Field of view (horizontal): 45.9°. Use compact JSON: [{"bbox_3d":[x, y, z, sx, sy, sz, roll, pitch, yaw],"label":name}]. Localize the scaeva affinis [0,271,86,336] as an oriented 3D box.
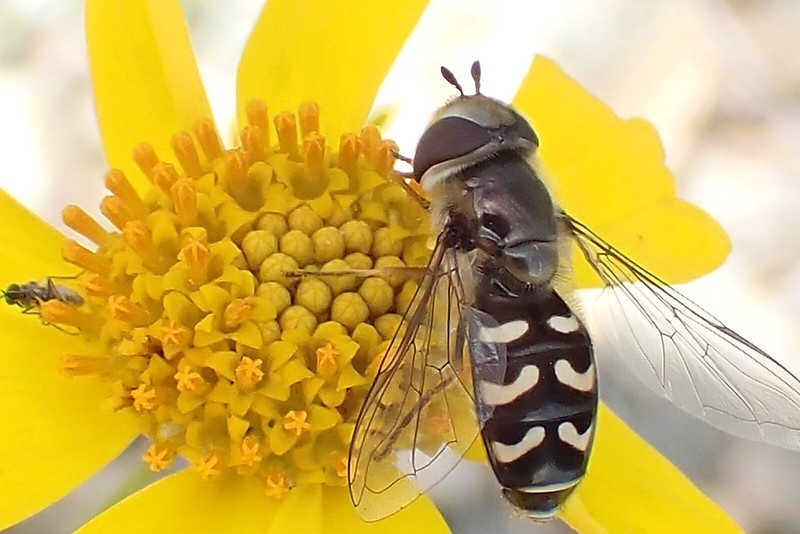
[{"bbox_3d":[-0.930,0.086,2.469,0.159,0.159,0.050,14,-21,-4],"label":"scaeva affinis"}]
